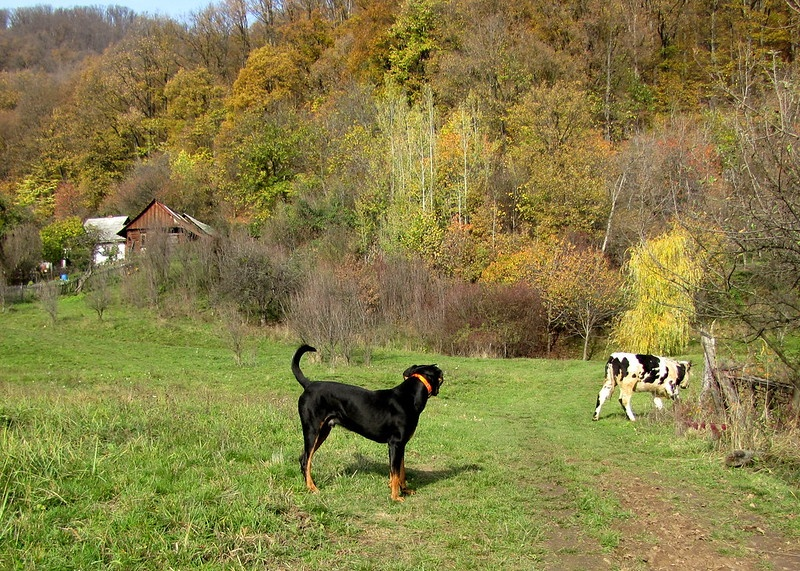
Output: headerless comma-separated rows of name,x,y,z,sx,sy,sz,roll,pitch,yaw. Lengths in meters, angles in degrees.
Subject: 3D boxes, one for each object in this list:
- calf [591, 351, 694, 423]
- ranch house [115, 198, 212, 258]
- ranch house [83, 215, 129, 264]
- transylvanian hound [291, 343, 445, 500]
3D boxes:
calf,11.330,4.831,40.776,4.069,3.313,4.470,-3,6,23
ranch house,-23.418,-5.569,83.845,6.773,4.037,8.312,-3,-1,-1
ranch house,-28.436,-4.836,85.387,4.123,5.536,4.592,3,27,-17
transylvanian hound,-1.268,5.287,34.783,6.173,6.286,1.777,1,3,-7
